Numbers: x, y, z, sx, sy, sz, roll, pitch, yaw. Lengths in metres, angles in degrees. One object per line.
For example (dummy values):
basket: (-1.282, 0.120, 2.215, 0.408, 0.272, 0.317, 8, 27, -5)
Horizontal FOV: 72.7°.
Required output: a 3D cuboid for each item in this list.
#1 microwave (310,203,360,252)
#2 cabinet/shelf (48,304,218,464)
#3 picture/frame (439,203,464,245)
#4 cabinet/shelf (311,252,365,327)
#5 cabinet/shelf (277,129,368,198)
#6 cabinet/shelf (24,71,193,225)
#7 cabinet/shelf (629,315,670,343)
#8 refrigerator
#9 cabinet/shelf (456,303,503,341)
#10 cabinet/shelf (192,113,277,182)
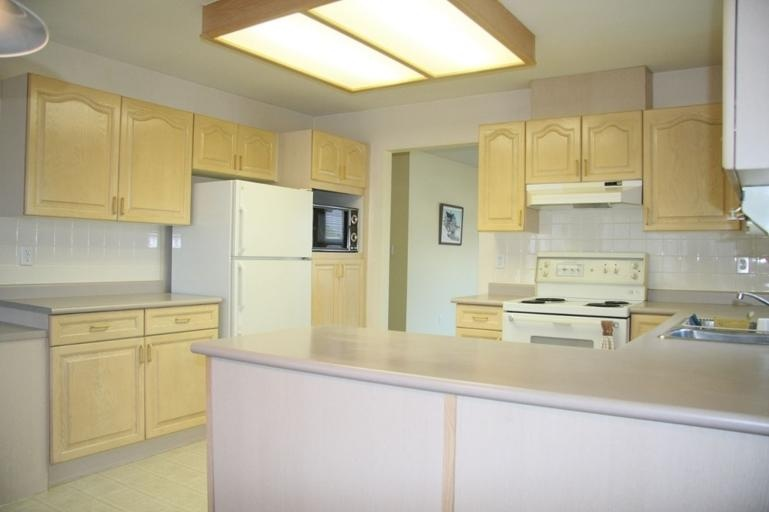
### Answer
microwave: (-0.484, -0.257, 5.032, 0.398, 0.421, 0.622, -2, -4, 33)
cabinet/shelf: (-1.882, 0.860, 3.838, 0.468, 0.952, 1.253, -5, -4, 31)
picture/frame: (0.952, -0.446, 7.483, 0.169, 0.675, 0.849, 4, 16, 24)
cabinet/shelf: (-0.468, 0.317, 4.971, 0.271, 0.733, 0.769, 1, -1, 44)
cabinet/shelf: (-0.624, -0.920, 5.298, 0.508, 0.543, 0.930, 5, 4, 29)
cabinet/shelf: (-2.123, -0.722, 3.980, 0.433, 0.930, 1.223, 7, 5, 36)
cabinet/shelf: (1.624, 0.436, 3.187, 0.223, 0.208, 0.144, -2, -6, 28)
refrigerator: (-1.129, 0.004, 4.371, 1.236, 1.275, 0.703, -9, 16, -23)
cabinet/shelf: (0.768, 0.533, 4.299, 0.257, 0.471, 0.339, -2, -4, 34)
cabinet/shelf: (-1.268, -0.941, 4.671, 0.811, 0.441, 0.250, 11, 20, 11)
